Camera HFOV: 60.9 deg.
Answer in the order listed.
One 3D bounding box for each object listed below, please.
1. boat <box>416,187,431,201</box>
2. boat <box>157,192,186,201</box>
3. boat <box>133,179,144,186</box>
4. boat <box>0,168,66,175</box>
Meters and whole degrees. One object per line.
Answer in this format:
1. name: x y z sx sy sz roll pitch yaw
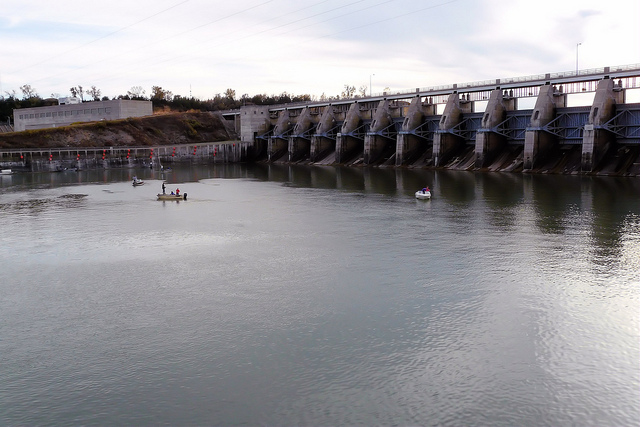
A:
1. boat: 10.307 -1.947 54.667 1.073 0.704 1.620 2 9 -2
2. boat: -15.527 -1.779 57.548 3.477 0.623 1.645 1 7 13
3. boat: -24.607 -4.226 73.917 1.343 0.586 1.672 1 12 -12
4. boat: -49.266 -7.285 93.093 2.950 0.904 10.000 6 10 44
